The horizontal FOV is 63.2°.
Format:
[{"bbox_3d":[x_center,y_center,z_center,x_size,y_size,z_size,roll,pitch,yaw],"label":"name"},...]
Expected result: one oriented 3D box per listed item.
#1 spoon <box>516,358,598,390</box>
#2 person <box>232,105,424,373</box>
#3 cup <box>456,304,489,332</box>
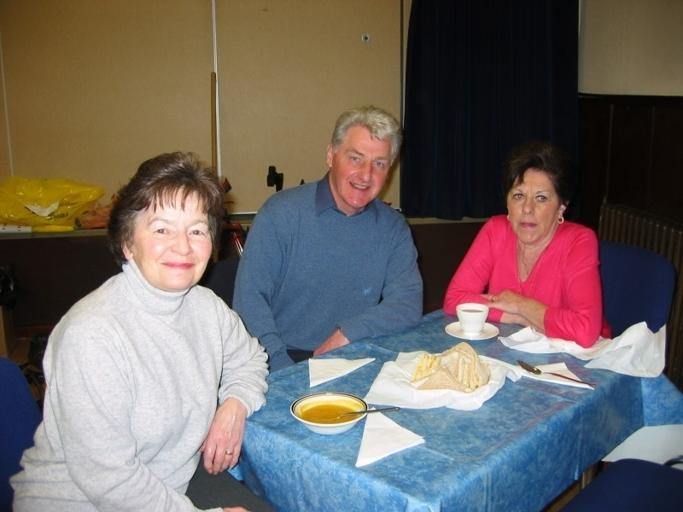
[{"bbox_3d":[0.708,0.380,1.812,0.071,0.048,0.302,-13,8,-15],"label":"spoon"},{"bbox_3d":[-0.035,0.029,2.463,0.821,1.332,0.711,-1,30,-21],"label":"person"},{"bbox_3d":[0.511,0.237,2.159,0.102,0.090,0.111,1,7,0],"label":"cup"}]
